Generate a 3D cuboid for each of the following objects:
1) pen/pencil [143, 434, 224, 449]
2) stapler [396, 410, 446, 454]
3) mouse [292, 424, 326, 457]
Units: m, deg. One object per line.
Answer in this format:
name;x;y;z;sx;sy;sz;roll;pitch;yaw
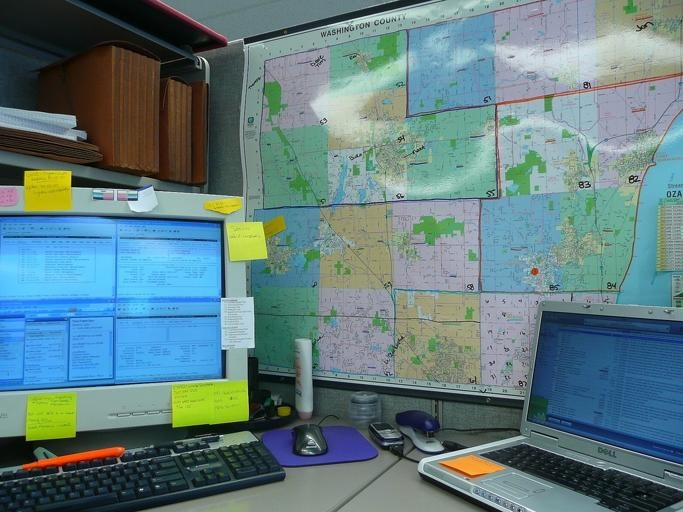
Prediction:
pen/pencil;-0.365;0.422;1.276;0.019;0.018;0.187;36;18;37
stapler;0.192;0.419;1.392;0.071;0.065;0.201;-2;2;-21
mouse;-0.076;0.428;1.300;0.054;0.021;0.072;1;5;-9
